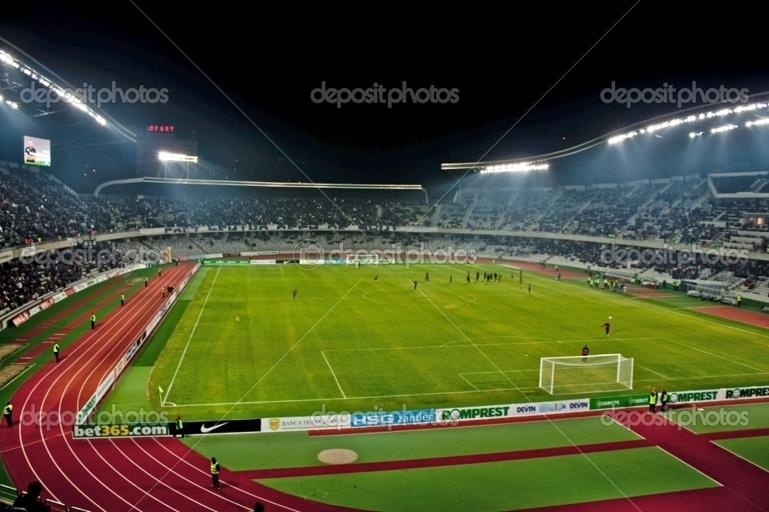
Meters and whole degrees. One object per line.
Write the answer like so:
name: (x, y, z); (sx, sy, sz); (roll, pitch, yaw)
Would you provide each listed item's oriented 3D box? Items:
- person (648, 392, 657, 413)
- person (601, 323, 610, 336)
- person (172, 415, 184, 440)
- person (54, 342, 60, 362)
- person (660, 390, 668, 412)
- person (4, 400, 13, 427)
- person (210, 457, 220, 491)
person: (17.511, 9.422, 35.848); (0.496, 1.427, 0.640); (5, 9, 26)
person: (19.362, 6.466, 48.261); (0.587, 1.335, 0.900); (2, 14, 11)
person: (-12.313, 10.111, 32.786); (0.474, 1.415, 0.519); (-7, 11, -43)
person: (-24.739, 7.142, 41.194); (0.352, 1.233, 1.844); (-4, 9, -31)
person: (18.342, 9.381, 35.940); (0.721, 1.419, 0.295); (-2, 9, -21)
person: (-23.133, 9.556, 33.629); (0.504, 1.289, 1.425); (-5, 10, -35)
person: (-9.360, 11.645, 30.063); (0.493, 1.688, 1.121); (-2, 9, -18)
